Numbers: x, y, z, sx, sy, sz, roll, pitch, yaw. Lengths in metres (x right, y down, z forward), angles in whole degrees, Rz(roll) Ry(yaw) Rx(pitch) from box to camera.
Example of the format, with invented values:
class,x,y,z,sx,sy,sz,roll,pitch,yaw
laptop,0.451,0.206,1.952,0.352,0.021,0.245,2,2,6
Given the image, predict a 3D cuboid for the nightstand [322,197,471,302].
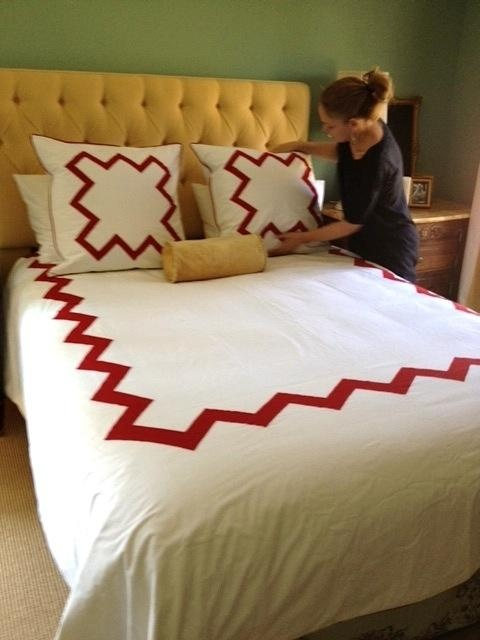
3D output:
class,x,y,z,sx,sy,sz,roll,pitch,yaw
nightstand,0.928,-0.355,2.997,0.489,0.522,0.395,2,32,18
